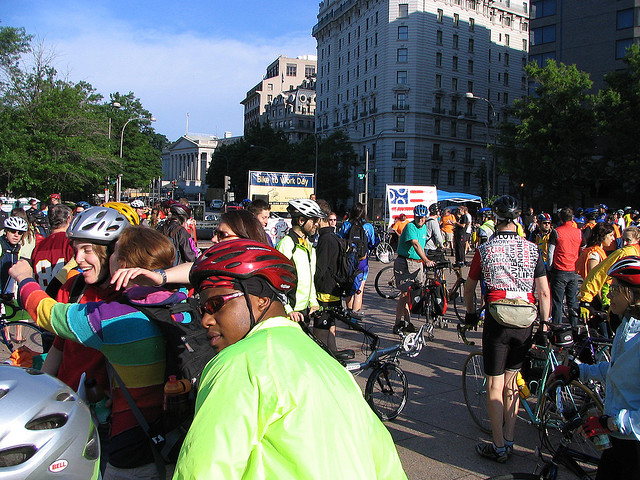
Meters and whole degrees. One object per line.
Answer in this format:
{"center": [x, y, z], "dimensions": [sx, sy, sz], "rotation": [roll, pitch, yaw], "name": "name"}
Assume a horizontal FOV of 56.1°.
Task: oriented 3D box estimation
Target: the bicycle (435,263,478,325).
{"center": [2.752, 1.085, 12.414], "dimensions": [0.917, 1.319, 1.953], "rotation": [-4, -4, 0], "name": "bicycle"}

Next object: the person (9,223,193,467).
{"center": [-1.213, 0.634, 3.765], "dimensions": [0.922, 1.433, 1.034], "rotation": [9, 12, 27], "name": "person"}

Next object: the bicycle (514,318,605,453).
{"center": [2.291, 1.386, 5.949], "dimensions": [0.796, 1.103, 1.695], "rotation": [23, -7, 30], "name": "bicycle"}

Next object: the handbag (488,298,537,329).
{"center": [1.738, 0.633, 5.332], "dimensions": [0.321, 0.248, 0.103], "rotation": [8, 13, 1], "name": "handbag"}

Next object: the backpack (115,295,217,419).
{"center": [-0.808, 0.700, 3.683], "dimensions": [0.431, 0.638, 0.628], "rotation": [-31, 6, -32], "name": "backpack"}

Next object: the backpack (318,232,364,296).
{"center": [0.350, 0.353, 7.991], "dimensions": [0.441, 0.793, 0.542], "rotation": [6, 4, 33], "name": "backpack"}

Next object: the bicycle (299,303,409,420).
{"center": [0.364, 1.432, 6.660], "dimensions": [1.400, 0.981, 0.890], "rotation": [-7, -19, 33], "name": "bicycle"}

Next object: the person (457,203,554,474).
{"center": [1.770, 0.843, 5.617], "dimensions": [0.702, 2.370, 0.604], "rotation": [-2, 4, -31], "name": "person"}

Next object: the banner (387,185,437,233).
{"center": [3.602, -1.234, 23.325], "dimensions": [1.866, 2.189, 0.095], "rotation": [0, 28, 8], "name": "banner"}

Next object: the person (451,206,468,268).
{"center": [5.119, -0.100, 21.793], "dimensions": [0.590, 0.765, 2.124], "rotation": [13, 42, 8], "name": "person"}

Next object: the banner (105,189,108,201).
{"center": [-12.554, -2.693, 35.478], "dimensions": [0.123, 0.511, 1.302], "rotation": [-1, 5, -22], "name": "banner"}

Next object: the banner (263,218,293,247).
{"center": [-1.106, -0.256, 16.369], "dimensions": [0.553, 0.599, 1.410], "rotation": [1, 4, -3], "name": "banner"}

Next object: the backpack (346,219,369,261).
{"center": [0.694, 0.063, 11.007], "dimensions": [0.491, 0.823, 0.438], "rotation": [7, -14, -5], "name": "backpack"}

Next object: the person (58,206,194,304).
{"center": [-1.232, 0.105, 4.016], "dimensions": [0.736, 0.948, 0.631], "rotation": [4, 1, 22], "name": "person"}
